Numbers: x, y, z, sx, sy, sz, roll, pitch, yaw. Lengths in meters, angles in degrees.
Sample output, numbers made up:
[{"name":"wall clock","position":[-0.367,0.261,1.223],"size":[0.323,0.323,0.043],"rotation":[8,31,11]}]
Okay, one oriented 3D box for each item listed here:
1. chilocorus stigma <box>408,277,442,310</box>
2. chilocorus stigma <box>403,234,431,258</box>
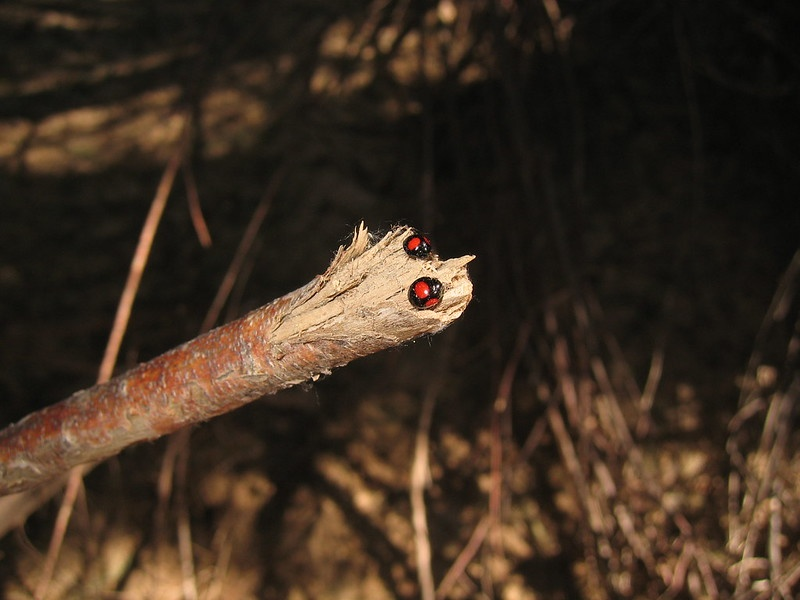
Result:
[{"name":"chilocorus stigma","position":[0.050,-0.012,1.891],"size":[0.067,0.023,0.064],"rotation":[2,-68,0]},{"name":"chilocorus stigma","position":[0.034,-0.110,1.909],"size":[0.056,0.034,0.041],"rotation":[2,-68,0]}]
